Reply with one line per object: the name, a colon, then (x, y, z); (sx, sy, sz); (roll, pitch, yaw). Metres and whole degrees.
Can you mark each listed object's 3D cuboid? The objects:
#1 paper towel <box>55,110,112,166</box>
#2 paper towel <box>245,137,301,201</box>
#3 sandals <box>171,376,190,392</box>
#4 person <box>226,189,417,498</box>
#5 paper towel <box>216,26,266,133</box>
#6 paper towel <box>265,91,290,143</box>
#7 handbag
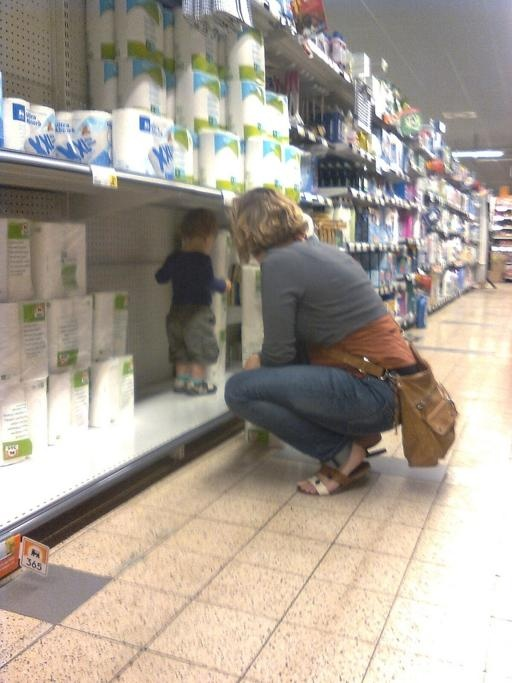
paper towel: (-0.487, -0.579, 1.404); (0.147, 0.138, 0.049); (-1, 2, -32)
paper towel: (0.067, -0.775, 2.220); (0.134, 0.313, 0.449); (4, 11, 17)
sandals: (-0.363, 0.201, 2.343); (0.036, 0.053, 0.113); (3, 10, 8)
person: (0.310, 0.013, 2.242); (0.787, 1.618, 0.895); (0, 2, 26)
paper towel: (-0.053, -1.145, 2.224); (0.171, 0.492, 0.085); (0, 1, -5)
paper towel: (0.110, -1.100, 2.472); (0.065, 0.248, 0.263); (1, 2, 24)
handbag: (0.502, 0.242, 1.759); (0.313, 0.358, 0.218); (-5, 22, 34)
